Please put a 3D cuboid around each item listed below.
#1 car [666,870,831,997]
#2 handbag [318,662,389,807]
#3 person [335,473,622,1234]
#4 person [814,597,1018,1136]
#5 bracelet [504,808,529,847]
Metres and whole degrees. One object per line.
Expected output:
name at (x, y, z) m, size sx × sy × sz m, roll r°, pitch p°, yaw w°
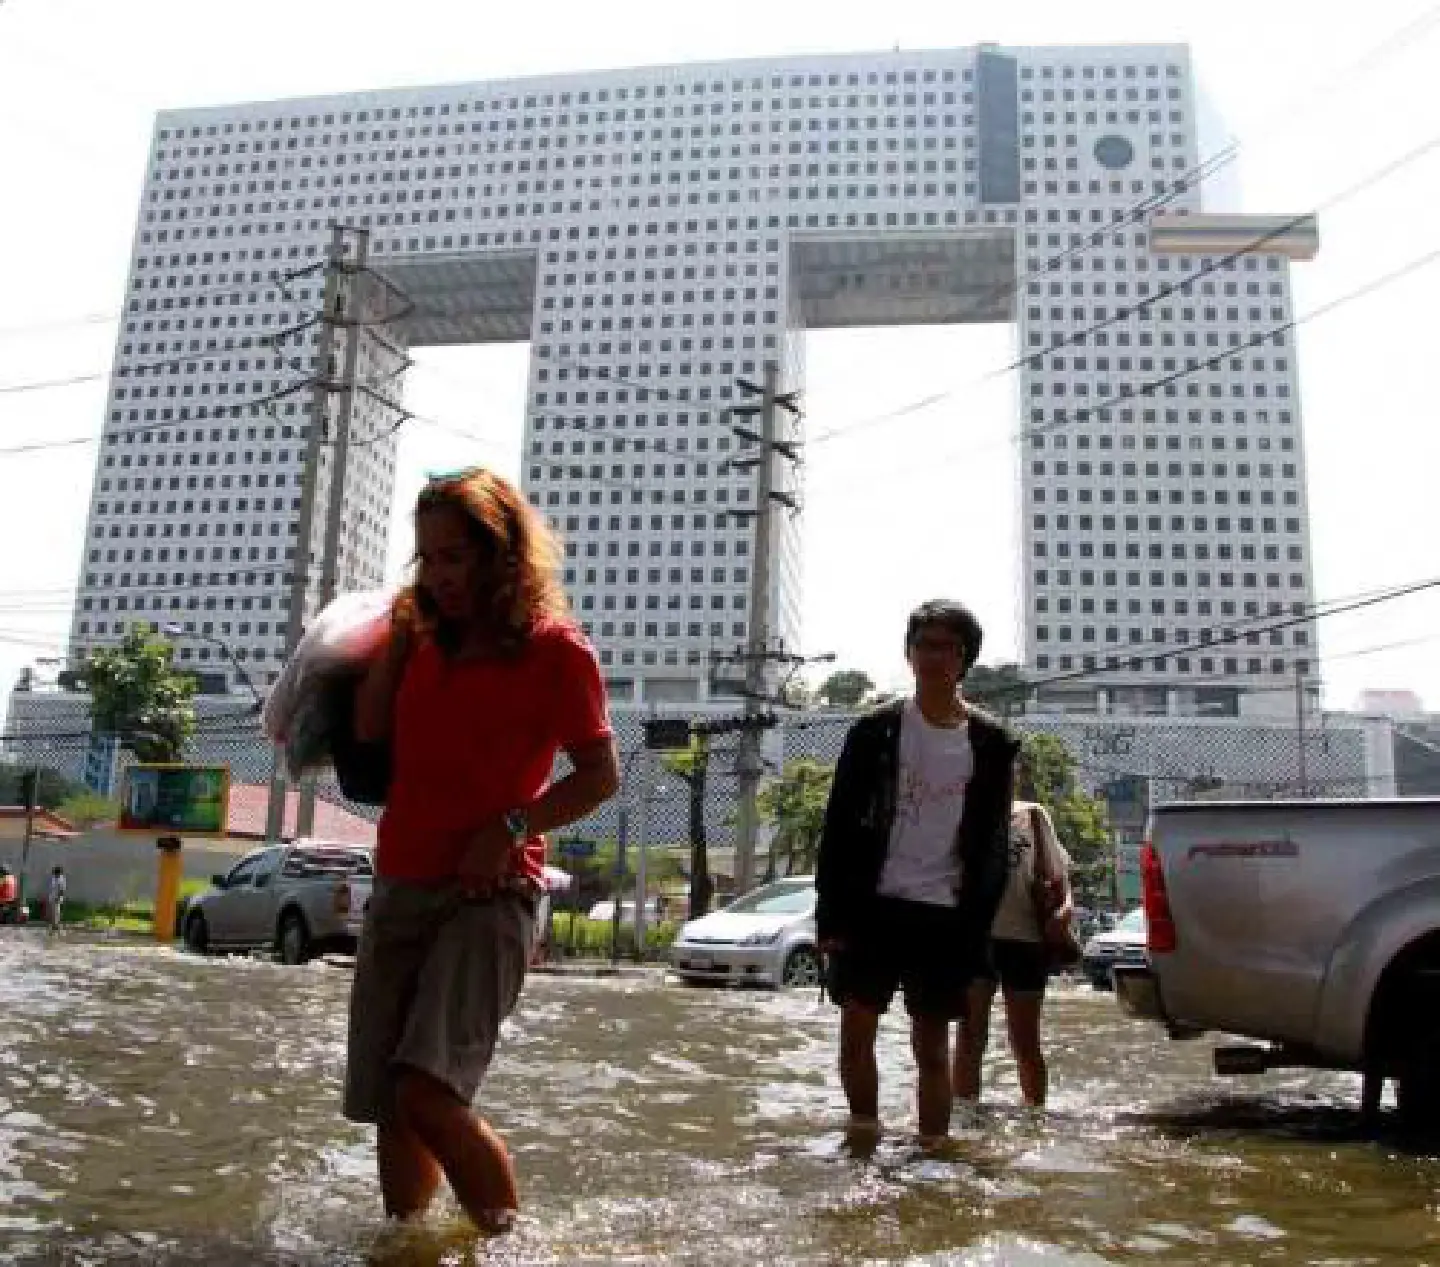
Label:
car at (0.397, 3.717, 13.534) m, size 1.212 × 1.359 × 1.638 m, roll 12°, pitch 0°, yaw -30°
handbag at (-0.834, 0.246, 2.676) m, size 0.217 × 0.273 × 0.074 m, roll 2°, pitch 9°, yaw 11°
person at (-0.567, 0.411, 2.490) m, size 0.401 × 1.628 × 0.634 m, roll 13°, pitch -1°, yaw -40°
person at (0.630, 0.779, 3.752) m, size 0.630 × 1.770 × 0.482 m, roll 13°, pitch 0°, yaw 6°
bracelet at (-0.412, 0.396, 2.329) m, size 0.042 × 0.064 × 0.065 m, roll -9°, pitch -22°, yaw -17°
